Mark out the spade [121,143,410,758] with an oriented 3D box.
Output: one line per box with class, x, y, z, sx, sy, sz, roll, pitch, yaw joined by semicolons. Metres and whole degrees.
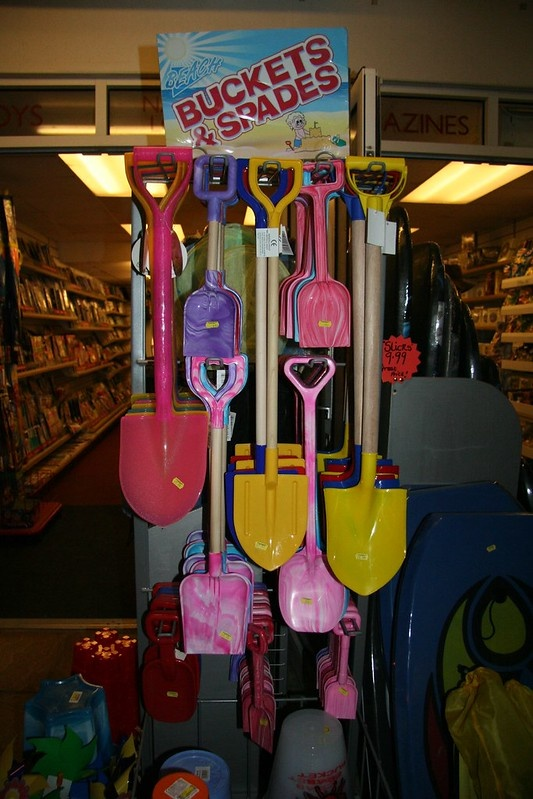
spade;-0.078;0.061;1.318;0.421;1.140;0.234;0;11;5
